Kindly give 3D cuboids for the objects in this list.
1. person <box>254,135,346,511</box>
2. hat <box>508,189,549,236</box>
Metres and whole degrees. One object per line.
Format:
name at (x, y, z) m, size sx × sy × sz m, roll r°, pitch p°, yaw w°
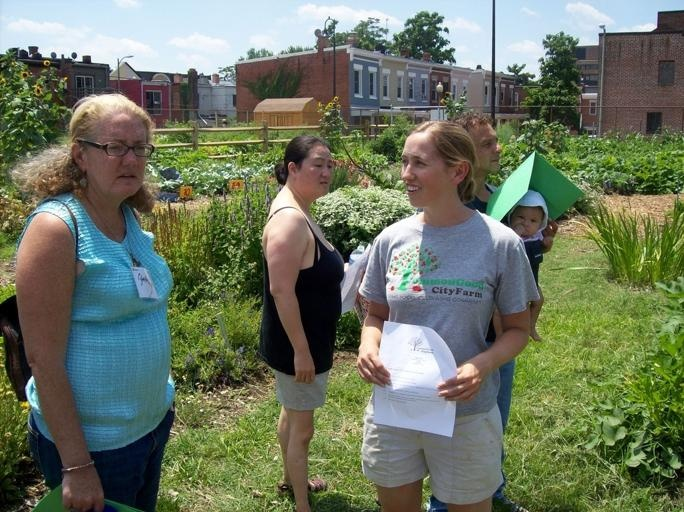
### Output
person at (-0.287, 0.469, 4.122) m, size 0.591 × 2.409 × 0.814 m, roll 5°, pitch 15°, yaw 21°
hat at (1.265, -0.351, 4.096) m, size 0.210 × 0.293 × 0.290 m, roll 20°, pitch -22°, yaw 29°
